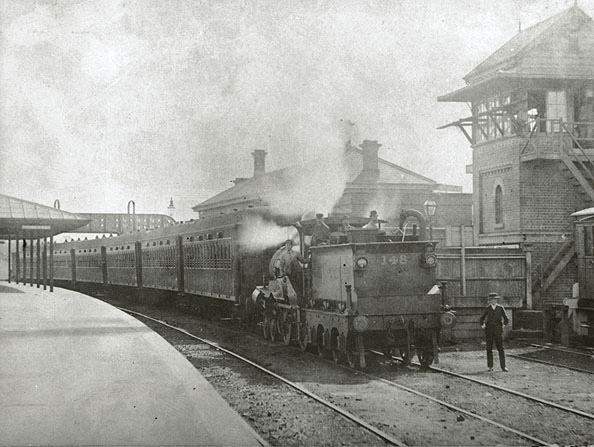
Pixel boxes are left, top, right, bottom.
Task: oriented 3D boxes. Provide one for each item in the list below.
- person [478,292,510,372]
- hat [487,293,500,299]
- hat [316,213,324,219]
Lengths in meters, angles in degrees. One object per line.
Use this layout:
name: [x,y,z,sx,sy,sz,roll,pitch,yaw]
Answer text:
person: [4.588,2.489,14.420,0.669,1.804,0.823,3,0,29]
hat: [4.581,1.687,14.707,0.310,0.100,0.341,-1,-4,-5]
hat: [0.573,-0.203,16.071,0.119,0.176,0.142,0,-8,-1]
